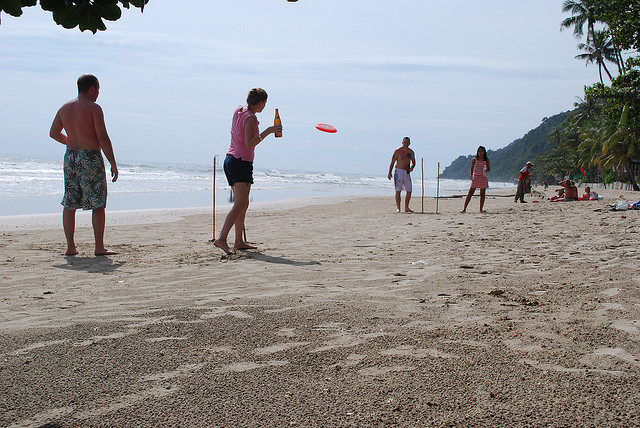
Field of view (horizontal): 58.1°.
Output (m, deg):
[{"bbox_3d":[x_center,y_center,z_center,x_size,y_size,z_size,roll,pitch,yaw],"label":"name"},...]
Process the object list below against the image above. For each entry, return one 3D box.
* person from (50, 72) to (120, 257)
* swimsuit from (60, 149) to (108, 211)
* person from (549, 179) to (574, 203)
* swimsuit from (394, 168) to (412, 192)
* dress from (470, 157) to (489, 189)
[{"bbox_3d":[-2.954,-0.611,7.191,0.915,2.213,0.663,4,9,34],"label":"person"},{"bbox_3d":[-2.978,-0.433,7.228,0.533,0.761,0.277,-3,8,-19],"label":"swimsuit"},{"bbox_3d":[7.488,-0.720,17.449,0.814,0.852,0.683,5,5,32],"label":"person"},{"bbox_3d":[1.956,-0.829,13.711,0.371,0.532,0.710,0,7,5],"label":"swimsuit"},{"bbox_3d":[3.775,-0.959,13.631,0.349,0.729,0.566,1,7,15],"label":"dress"}]
